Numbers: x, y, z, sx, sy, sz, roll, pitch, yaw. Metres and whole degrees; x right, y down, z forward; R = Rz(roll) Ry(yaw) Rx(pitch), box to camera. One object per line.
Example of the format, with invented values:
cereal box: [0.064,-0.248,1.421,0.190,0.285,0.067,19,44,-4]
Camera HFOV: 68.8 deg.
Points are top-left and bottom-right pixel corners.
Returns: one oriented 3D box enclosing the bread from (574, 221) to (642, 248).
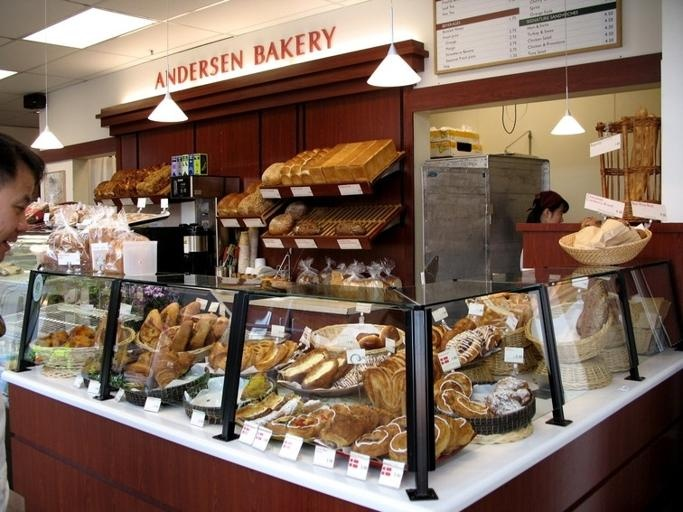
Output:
bread: [1.342,-0.103,2.526,0.208,0.074,0.182,-9,13,-30]

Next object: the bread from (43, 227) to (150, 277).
bread: [-1.271,-0.032,2.589,0.358,0.129,0.359,7,2,38]

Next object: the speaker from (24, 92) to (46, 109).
speaker: [-4.956,-2.490,8.044,0.271,0.215,0.396,-1,0,-36]

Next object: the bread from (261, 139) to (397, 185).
bread: [-0.090,-0.794,4.379,1.098,0.376,0.455,0,4,34]

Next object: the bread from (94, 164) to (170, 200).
bread: [-2.557,-0.910,6.220,1.388,0.406,0.283,0,4,35]

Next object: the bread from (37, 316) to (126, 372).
bread: [-1.244,0.440,2.371,0.380,0.136,0.374,9,12,21]
